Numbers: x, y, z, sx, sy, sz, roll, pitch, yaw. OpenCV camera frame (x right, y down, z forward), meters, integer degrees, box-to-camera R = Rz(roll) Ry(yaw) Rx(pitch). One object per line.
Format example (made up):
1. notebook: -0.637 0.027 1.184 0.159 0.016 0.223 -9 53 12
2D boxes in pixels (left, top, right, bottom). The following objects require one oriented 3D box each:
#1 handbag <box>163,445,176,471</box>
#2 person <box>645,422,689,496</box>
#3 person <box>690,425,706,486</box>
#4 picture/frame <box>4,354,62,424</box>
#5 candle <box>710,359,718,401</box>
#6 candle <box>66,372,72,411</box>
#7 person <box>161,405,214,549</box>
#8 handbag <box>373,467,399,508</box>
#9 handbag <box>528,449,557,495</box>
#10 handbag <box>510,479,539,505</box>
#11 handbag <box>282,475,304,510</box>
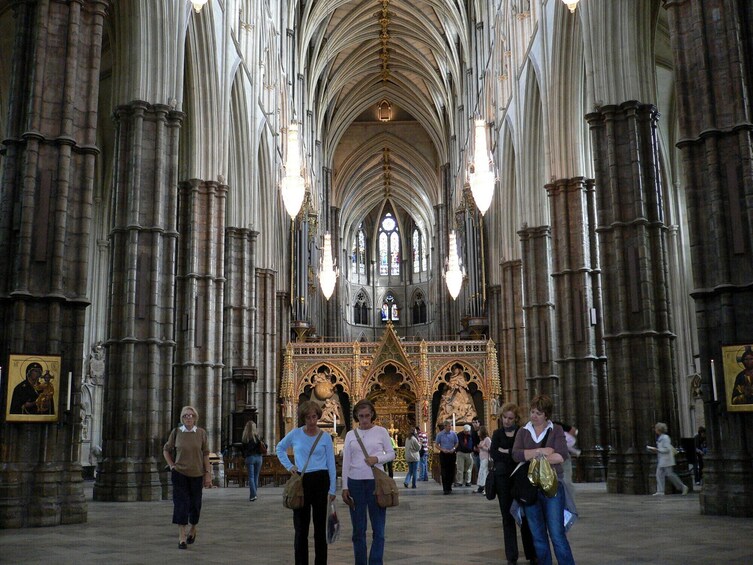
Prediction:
1. handbag: -3.032 2.583 11.476 0.151 0.336 0.733 1 -14 -15
2. person: 6.210 3.800 16.848 0.601 1.499 0.852 -9 -15 31
3. person: 8.589 4.572 20.876 0.399 1.495 3.611 -7 -14 21
4. picture/frame: -5.893 1.814 13.313 1.023 1.487 0.117 5 -14 -29
5. candle: 5.907 1.718 13.699 0.086 0.720 0.074 2 -13 -19
6. candle: -5.401 1.918 13.780 0.060 0.685 0.168 -4 -13 10
7. person: -2.750 2.787 11.343 0.634 1.967 1.234 1 -13 -13
8. handbag: 0.102 2.465 9.412 0.276 0.486 0.714 -2 -13 0
9. handbag: 1.858 2.138 8.752 0.368 0.519 0.257 9 24 44
10. handbag: 1.685 2.372 8.849 0.244 0.375 0.182 -24 -34 35
11. handbag: -0.958 2.419 9.040 0.227 0.406 0.209 0 -13 -8
